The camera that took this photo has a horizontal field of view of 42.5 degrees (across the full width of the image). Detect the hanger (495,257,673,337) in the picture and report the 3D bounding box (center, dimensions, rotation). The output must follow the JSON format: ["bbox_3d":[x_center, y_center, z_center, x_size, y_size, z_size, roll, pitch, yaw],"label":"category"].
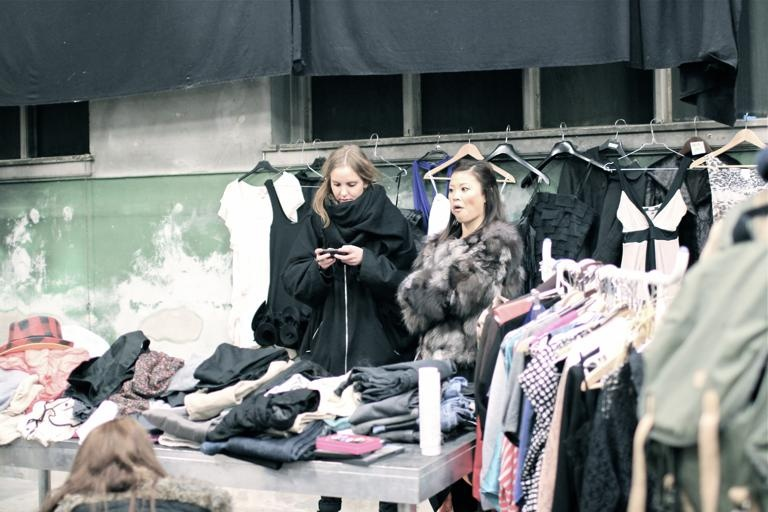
[{"bbox_3d":[1.156,0.157,4.800,0.269,0.305,0.938,-2,1,-32],"label":"hanger"}]
